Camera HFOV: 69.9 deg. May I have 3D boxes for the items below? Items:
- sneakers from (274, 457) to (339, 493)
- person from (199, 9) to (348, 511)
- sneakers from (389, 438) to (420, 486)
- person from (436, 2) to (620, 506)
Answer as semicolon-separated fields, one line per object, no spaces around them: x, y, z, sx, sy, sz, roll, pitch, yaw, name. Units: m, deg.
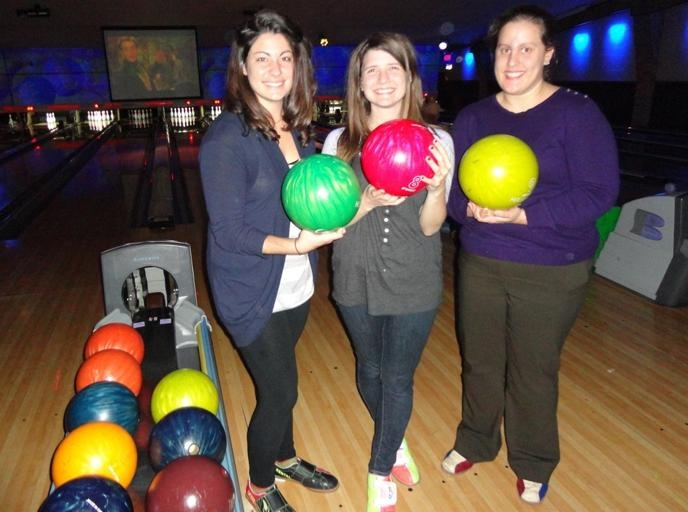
-0.149;0.873;2.004;0.288;0.104;0.110;8;35;4;sneakers
-0.229;0.094;1.740;0.451;1.768;0.445;-15;23;-34;person
0.221;0.814;2.027;0.077;0.096;0.231;-11;24;-18;sneakers
0.627;0.045;1.799;0.570;1.756;0.375;10;22;29;person
